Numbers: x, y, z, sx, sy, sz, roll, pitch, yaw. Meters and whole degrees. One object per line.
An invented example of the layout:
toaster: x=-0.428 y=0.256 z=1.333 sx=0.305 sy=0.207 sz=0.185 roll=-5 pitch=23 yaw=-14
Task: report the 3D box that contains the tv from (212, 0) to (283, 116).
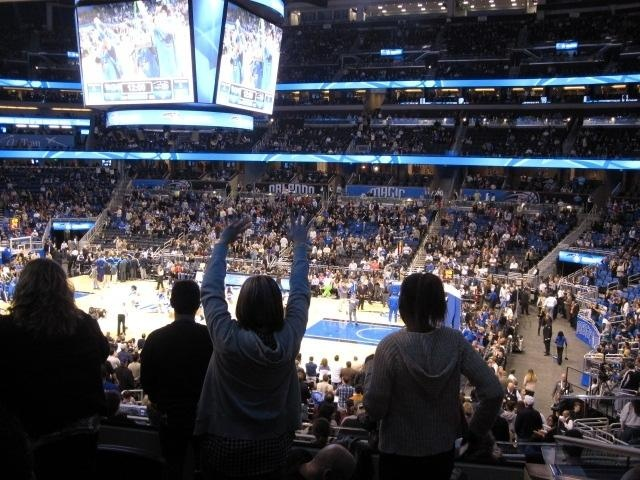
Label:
tv: x=-2.944 y=-7.290 z=25.356 sx=0.445 sy=4.434 sz=3.380 roll=14 pitch=20 yaw=33
